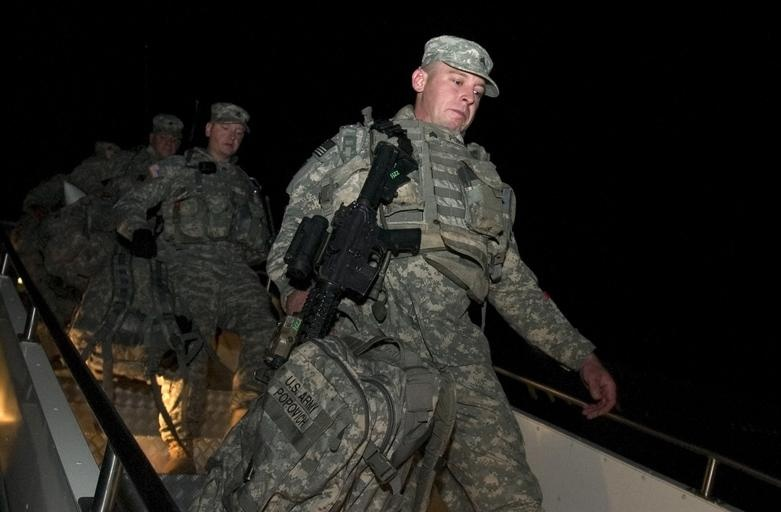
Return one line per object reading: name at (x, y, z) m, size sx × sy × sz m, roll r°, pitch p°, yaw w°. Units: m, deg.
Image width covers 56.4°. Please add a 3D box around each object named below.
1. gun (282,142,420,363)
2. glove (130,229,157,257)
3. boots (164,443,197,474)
gun at (-0.297, 0.044, 6.193) m, size 0.956 × 1.898 × 0.321 m, roll 31°, pitch -7°, yaw -2°
glove at (-2.804, -0.151, 8.271) m, size 0.247 × 0.368 × 0.195 m, roll -3°, pitch -12°, yaw -6°
boots at (-2.263, 2.209, 7.910) m, size 0.225 × 0.337 × 0.332 m, roll -1°, pitch -19°, yaw 7°
